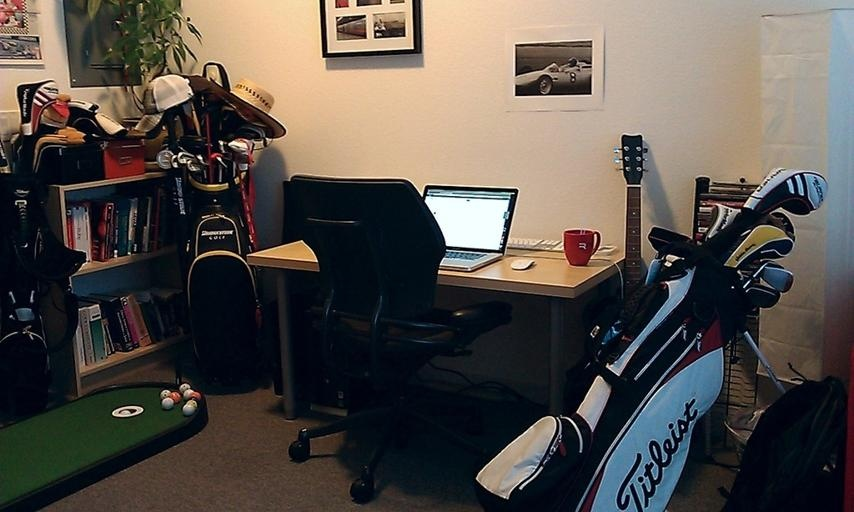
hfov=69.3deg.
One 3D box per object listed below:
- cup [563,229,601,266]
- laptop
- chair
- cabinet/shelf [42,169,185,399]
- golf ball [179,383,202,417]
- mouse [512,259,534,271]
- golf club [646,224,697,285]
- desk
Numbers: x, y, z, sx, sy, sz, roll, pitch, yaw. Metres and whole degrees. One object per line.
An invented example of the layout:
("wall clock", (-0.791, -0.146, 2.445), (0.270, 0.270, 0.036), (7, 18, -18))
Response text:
("cup", (0.830, -0.051, 3.269), (0.214, 0.149, 0.141), (-1, 12, 4))
("laptop", (0.249, -0.168, 3.435), (0.535, 0.464, 0.334), (7, 8, 20))
("chair", (-0.249, 0.342, 3.194), (0.869, 1.542, 1.023), (-14, 22, -39))
("cabinet/shelf", (-1.999, 0.170, 3.929), (0.438, 1.422, 1.300), (2, 9, 18))
("golf ball", (-1.375, 0.847, 3.613), (0.121, 0.059, 0.225), (1, 14, -11))
("mouse", (0.503, 0.039, 3.240), (0.107, 0.029, 0.152), (7, 18, 23))
("golf club", (1.119, -0.013, 2.855), (0.176, 0.178, 0.506), (6, 18, 19))
("desk", (-0.132, 0.502, 3.476), (1.792, 0.861, 0.959), (6, -1, 2))
